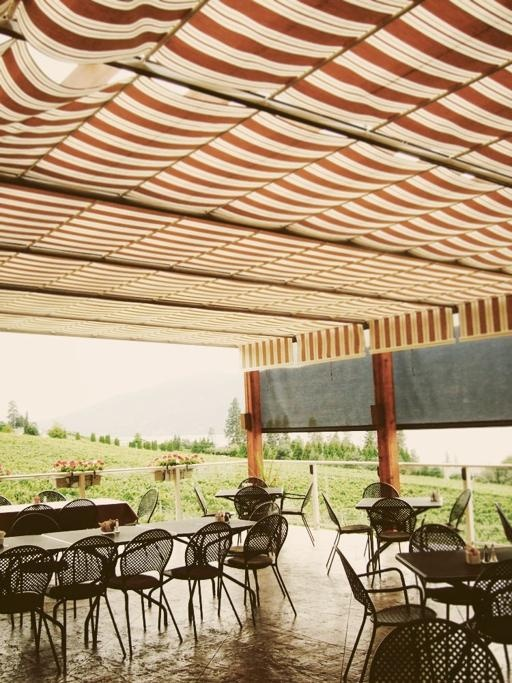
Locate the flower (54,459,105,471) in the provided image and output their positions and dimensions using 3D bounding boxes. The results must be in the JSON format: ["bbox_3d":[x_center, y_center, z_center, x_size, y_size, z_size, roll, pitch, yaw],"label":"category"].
[{"bbox_3d":[-2.874,2.051,8.982,0.759,0.166,0.391,1,-7,-15],"label":"flower"}]
